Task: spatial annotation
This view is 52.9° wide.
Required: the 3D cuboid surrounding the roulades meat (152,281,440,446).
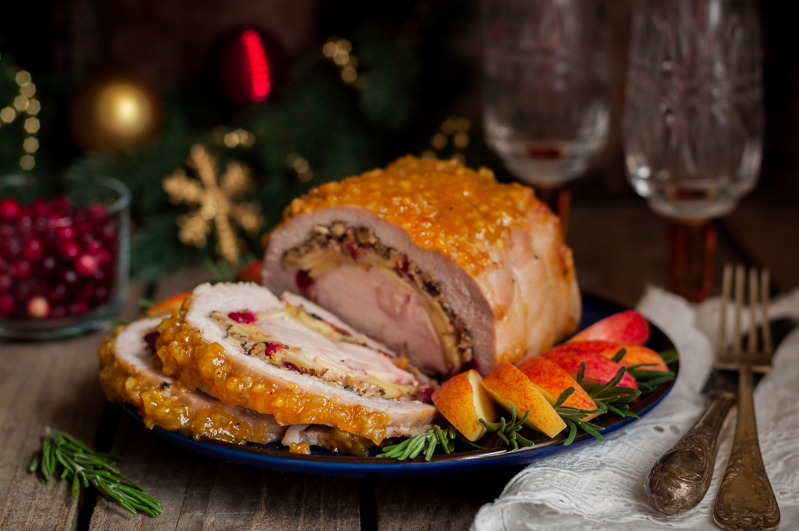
[{"bbox_3d":[-0.301,0.242,2.051,0.540,0.446,0.119,27,99,10],"label":"roulades meat"}]
